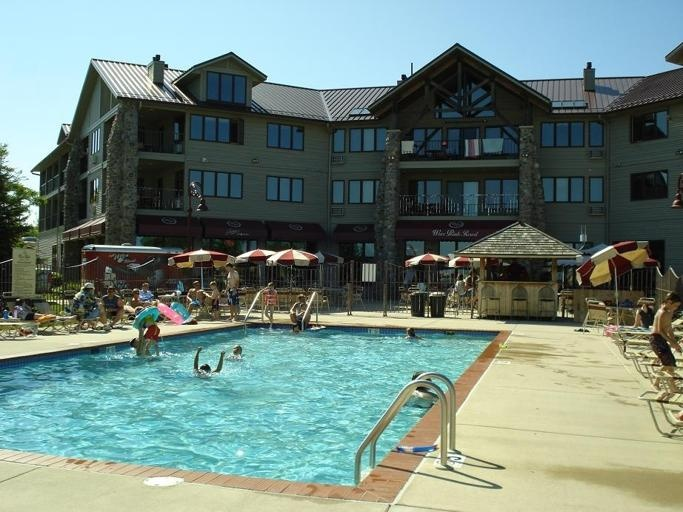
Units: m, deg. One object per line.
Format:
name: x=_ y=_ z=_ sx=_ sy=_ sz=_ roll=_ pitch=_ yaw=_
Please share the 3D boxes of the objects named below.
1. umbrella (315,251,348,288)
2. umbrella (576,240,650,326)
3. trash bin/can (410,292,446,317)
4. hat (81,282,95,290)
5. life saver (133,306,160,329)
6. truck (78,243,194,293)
umbrella: x=-0.644 y=0.780 z=33.766 sx=2.035 sy=1.630 sz=1.897 roll=0 pitch=-1 yaw=-2
umbrella: x=9.799 y=1.045 z=22.993 sx=2.696 sy=2.546 sz=2.425 roll=4 pitch=-34 yaw=-2
trash bin/can: x=3.640 y=2.021 z=26.774 sx=1.572 sy=0.797 sz=1.051 roll=1 pitch=-5 yaw=-3
hat: x=-7.976 y=0.936 z=20.068 sx=0.508 sy=0.184 sz=0.466 roll=1 pitch=-1 yaw=-5
life saver: x=-5.029 y=1.586 z=16.404 sx=0.545 sy=0.579 sz=1.016 roll=2 pitch=-3 yaw=-18
truck: x=-9.632 y=0.788 z=31.156 sx=5.402 sy=2.488 sz=1.612 roll=1 pitch=-1 yaw=19
